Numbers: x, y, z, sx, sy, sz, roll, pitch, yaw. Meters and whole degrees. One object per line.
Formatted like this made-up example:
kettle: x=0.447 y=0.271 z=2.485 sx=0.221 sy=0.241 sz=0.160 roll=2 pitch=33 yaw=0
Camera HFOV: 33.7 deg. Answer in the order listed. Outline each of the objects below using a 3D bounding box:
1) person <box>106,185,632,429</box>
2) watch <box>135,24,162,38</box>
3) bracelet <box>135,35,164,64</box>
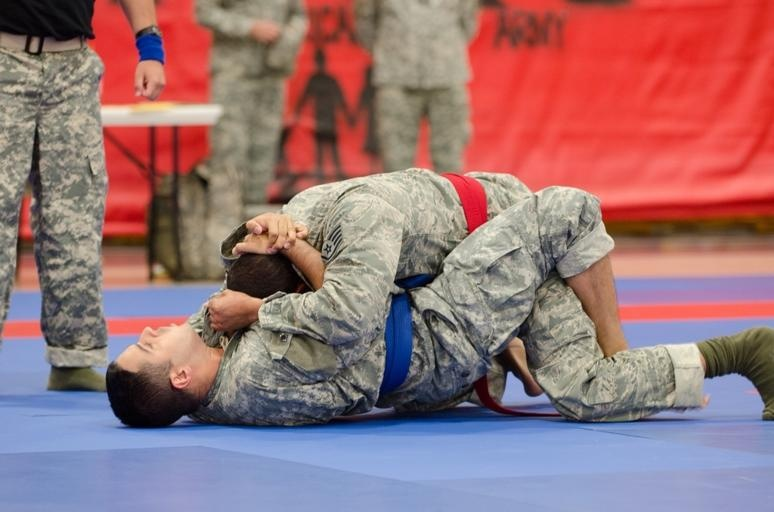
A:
person: x=-0.063 y=0.366 z=6.325 sx=2.703 sy=0.886 sz=1.013 roll=-11 pitch=-1 yaw=-14
watch: x=-1.265 y=-1.203 z=6.864 sx=0.099 sy=0.040 sz=0.098 roll=-20 pitch=-11 yaw=36
bracelet: x=-1.254 y=-1.115 z=6.933 sx=0.170 sy=0.143 sz=0.165 roll=-4 pitch=0 yaw=-25
